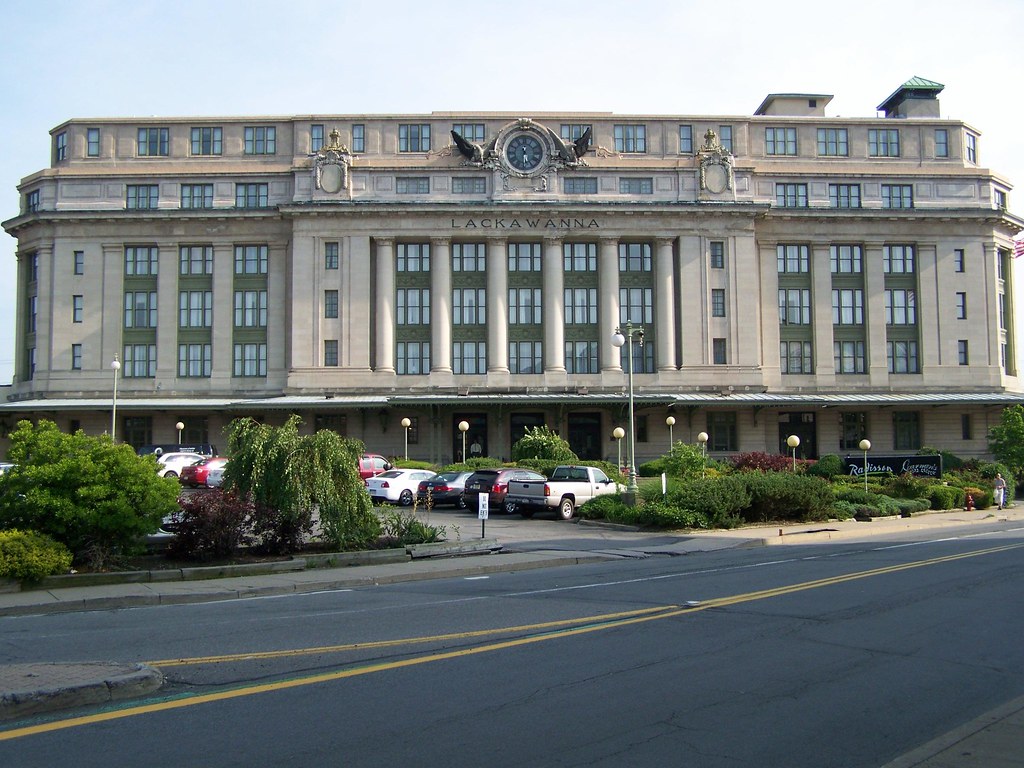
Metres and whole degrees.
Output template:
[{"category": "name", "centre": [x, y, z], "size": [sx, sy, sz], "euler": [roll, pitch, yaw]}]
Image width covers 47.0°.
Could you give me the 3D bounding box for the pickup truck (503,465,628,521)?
[{"category": "pickup truck", "centre": [2.021, 3.901, 42.732], "size": [3.675, 1.213, 1.958], "euler": [-1, -1, -41]}]

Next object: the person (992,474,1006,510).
[{"category": "person", "centre": [20.712, 4.576, 50.266], "size": [0.498, 1.318, 1.211], "euler": [-5, -7, 22]}]
